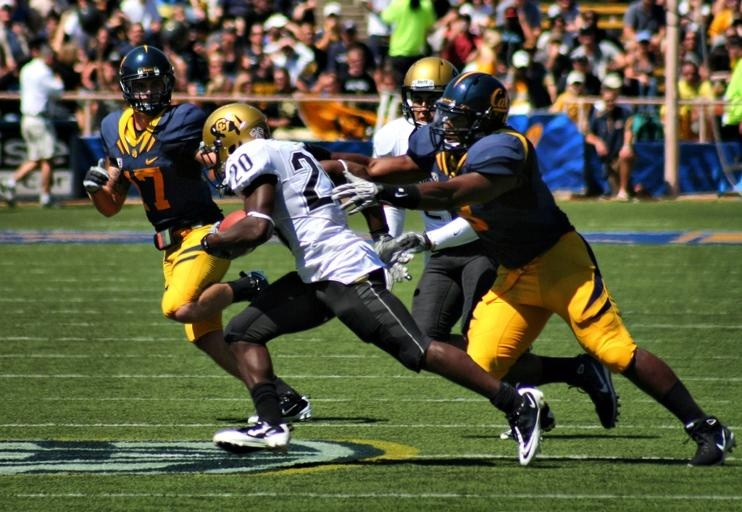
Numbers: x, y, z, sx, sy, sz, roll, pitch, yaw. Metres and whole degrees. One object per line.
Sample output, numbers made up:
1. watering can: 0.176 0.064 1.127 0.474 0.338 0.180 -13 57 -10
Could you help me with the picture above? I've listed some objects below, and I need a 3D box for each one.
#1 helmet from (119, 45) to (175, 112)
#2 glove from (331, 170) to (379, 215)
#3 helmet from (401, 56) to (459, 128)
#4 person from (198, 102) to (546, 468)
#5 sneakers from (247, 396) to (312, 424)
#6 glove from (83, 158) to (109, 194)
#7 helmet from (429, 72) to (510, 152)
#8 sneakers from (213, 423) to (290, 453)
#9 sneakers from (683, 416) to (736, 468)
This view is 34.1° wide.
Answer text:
1. helmet: -1.460 -1.161 7.920 0.446 0.362 0.473 -7 28 -14
2. glove: -0.088 -0.339 6.721 0.249 0.236 0.416 -3 13 -10
3. helmet: 0.355 -1.108 8.013 0.480 0.366 0.513 -1 6 15
4. person: -0.139 0.193 6.979 1.640 1.701 0.701 -2 16 -6
5. sneakers: -0.553 0.925 7.349 0.510 0.175 0.139 -2 23 -10
6. glove: -1.784 -0.510 7.821 0.156 0.215 0.212 -4 14 -11
7. helmet: 0.578 -0.819 6.970 0.604 0.365 0.386 -13 29 -16
8. sneakers: -0.668 1.018 6.822 0.512 0.162 0.152 2 -17 -1
9. sneakers: 1.935 1.033 6.862 0.266 0.272 0.155 -3 15 -10
